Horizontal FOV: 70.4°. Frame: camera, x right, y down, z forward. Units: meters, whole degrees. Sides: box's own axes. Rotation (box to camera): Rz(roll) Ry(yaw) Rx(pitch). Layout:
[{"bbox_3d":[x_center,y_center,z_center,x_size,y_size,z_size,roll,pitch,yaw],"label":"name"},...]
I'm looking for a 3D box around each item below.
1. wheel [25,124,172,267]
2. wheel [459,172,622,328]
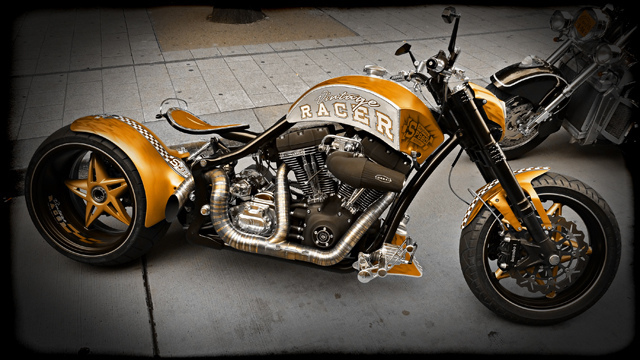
[{"bbox_3d":[-2.423,0.208,4.988,1.471,0.589,1.347,3,99,18],"label":"wheel"},{"bbox_3d":[2.199,0.771,4.549,1.772,0.273,1.589,0,102,-1],"label":"wheel"}]
